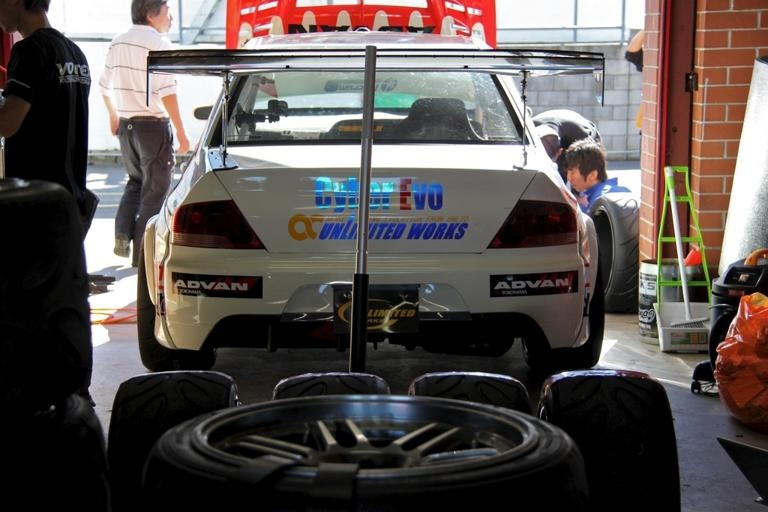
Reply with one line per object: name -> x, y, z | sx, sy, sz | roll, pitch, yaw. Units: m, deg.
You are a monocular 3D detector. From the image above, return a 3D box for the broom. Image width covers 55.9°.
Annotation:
broom -> 2.215, -0.037, 5.403 | 0.319, 1.466, 0.254 | -7, -34, 25

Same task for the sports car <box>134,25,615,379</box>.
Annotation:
sports car -> -0.073, -0.212, 3.759 | 2.249, 1.912, 1.971 | 2, 9, 14

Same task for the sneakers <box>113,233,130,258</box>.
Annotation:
sneakers -> -2.780, -0.086, 7.695 | 0.208, 0.218, 0.179 | 6, 0, 4
